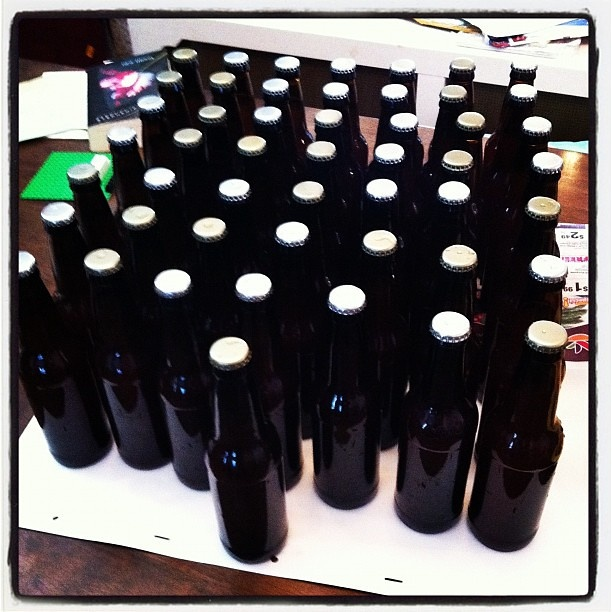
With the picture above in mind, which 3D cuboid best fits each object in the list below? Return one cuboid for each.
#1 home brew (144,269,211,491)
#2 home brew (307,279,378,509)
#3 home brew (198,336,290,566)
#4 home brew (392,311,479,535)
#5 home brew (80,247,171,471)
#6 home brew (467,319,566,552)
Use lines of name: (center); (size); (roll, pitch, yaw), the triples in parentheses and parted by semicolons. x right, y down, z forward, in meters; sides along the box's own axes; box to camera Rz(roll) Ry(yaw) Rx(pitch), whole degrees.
home brew: (-0.124, 0.090, 0.622); (0.064, 0.285, 0.037); (27, 42, 35)
home brew: (0.042, 0.103, 0.606); (0.070, 0.278, 0.047); (4, 33, 7)
home brew: (-0.053, 0.141, 0.569); (0.071, 0.267, 0.044); (-8, 34, -12)
home brew: (0.129, 0.118, 0.593); (0.070, 0.268, 0.057); (-7, 34, -11)
home brew: (-0.188, 0.067, 0.649); (0.058, 0.234, 0.059); (8, 29, 19)
home brew: (0.198, 0.130, 0.569); (0.069, 0.271, 0.042); (12, 35, 18)
